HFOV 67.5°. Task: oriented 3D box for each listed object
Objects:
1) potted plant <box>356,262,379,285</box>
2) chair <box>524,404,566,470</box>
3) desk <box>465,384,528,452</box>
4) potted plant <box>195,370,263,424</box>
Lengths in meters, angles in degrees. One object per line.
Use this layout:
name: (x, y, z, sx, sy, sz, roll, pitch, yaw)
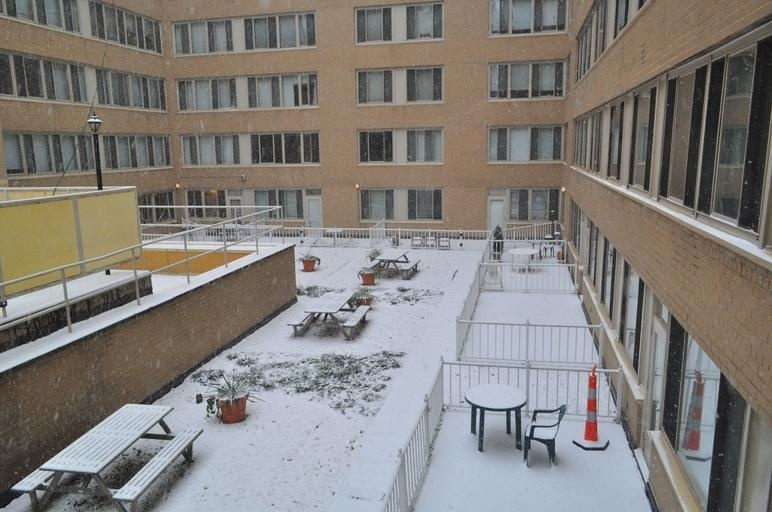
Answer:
potted plant: (-0.727, 0.730, 23.477, 0.790, 0.928, 0.814, 2, 4, 43)
chair: (3.152, 3.526, 11.475, 0.848, 1.124, 0.920, -3, 9, -17)
desk: (2.301, 3.461, 11.867, 1.100, 0.942, 1.184, 0, 7, 5)
potted plant: (-3.836, 3.292, 13.575, 1.082, 0.893, 1.180, 1, -2, -4)
